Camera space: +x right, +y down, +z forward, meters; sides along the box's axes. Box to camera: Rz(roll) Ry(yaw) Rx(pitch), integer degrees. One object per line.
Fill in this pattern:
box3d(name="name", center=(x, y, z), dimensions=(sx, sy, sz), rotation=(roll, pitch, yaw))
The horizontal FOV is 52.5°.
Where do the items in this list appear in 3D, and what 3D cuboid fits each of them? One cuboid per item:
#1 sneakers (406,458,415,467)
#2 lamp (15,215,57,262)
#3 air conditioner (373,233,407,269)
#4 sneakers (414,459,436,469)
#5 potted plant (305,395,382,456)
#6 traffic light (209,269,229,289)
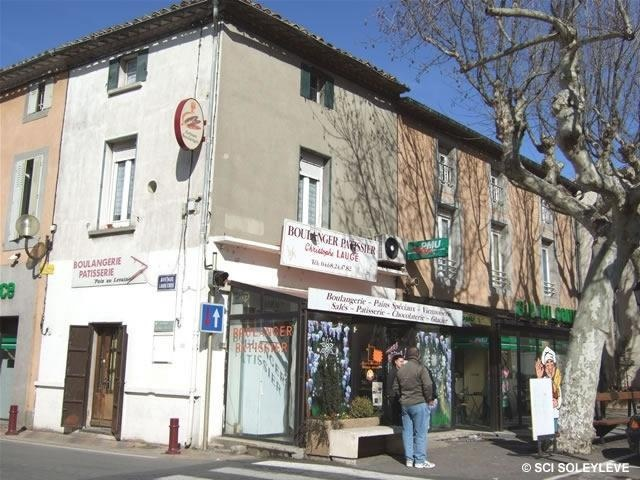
box3d(name="sneakers", center=(1.983, 4.917, 14.296), dimensions=(0.192, 0.173, 0.162), rotation=(-8, -19, 21))
box3d(name="lamp", center=(-8.596, -0.161, 19.664), dimensions=(1.016, 1.391, 0.591), rotation=(15, 17, -21))
box3d(name="air conditioner", center=(2.239, 0.371, 20.641), dimensions=(1.020, 0.978, 0.544), rotation=(12, -18, -32))
box3d(name="sneakers", center=(2.303, 4.893, 14.211), dimensions=(0.434, 0.220, 0.173), rotation=(0, -8, -3))
box3d(name="potted plant", center=(0.338, 4.359, 15.360), dimensions=(1.913, 0.971, 0.945), rotation=(8, -15, -42))
box3d(name="traffic light", center=(-2.602, 0.999, 16.794), dimensions=(0.528, 0.476, 0.320), rotation=(5, -18, -17))
